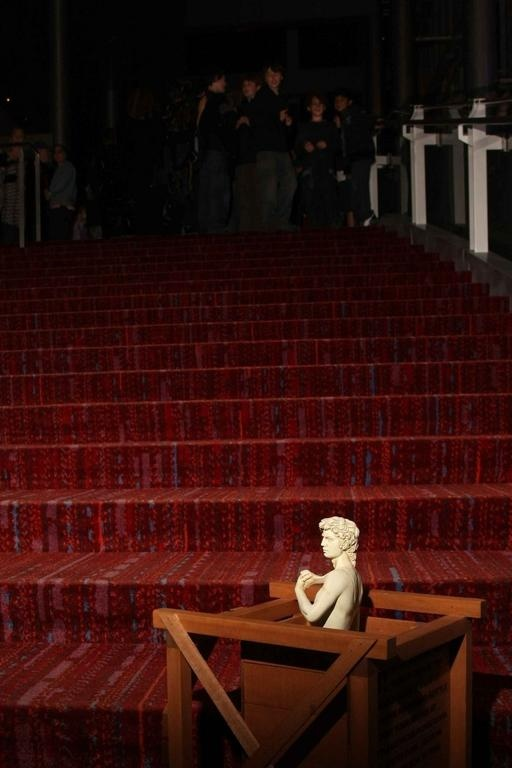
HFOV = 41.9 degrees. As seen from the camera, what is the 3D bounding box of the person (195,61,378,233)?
[{"bbox_3d":[0.333,-2.631,7.392,1.880,1.745,0.786,-1,3,-12],"label":"person"}]
